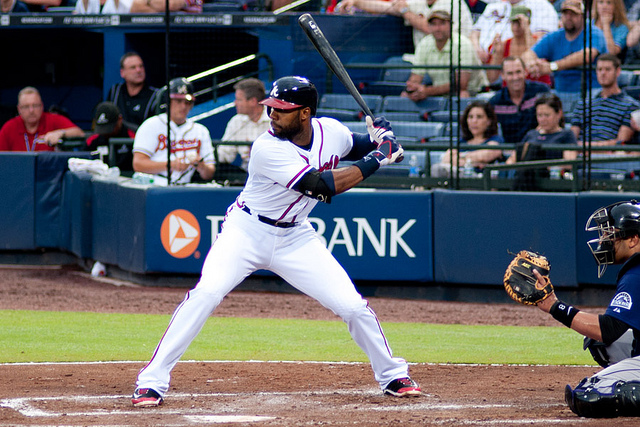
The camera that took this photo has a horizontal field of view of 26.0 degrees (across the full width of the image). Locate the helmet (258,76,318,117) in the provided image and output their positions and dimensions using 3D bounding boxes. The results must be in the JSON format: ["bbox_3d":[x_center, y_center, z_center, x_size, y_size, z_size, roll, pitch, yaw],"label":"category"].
[{"bbox_3d":[-0.315,-1.158,13.717,0.556,0.381,0.203,1,6,-4],"label":"helmet"}]

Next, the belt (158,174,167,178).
[{"bbox_3d":[-1.984,-0.462,17.278,0.119,0.040,0.038,4,6,22],"label":"belt"}]

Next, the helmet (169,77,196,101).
[{"bbox_3d":[-1.722,-1.530,17.100,0.189,0.283,0.422,5,7,32],"label":"helmet"}]
